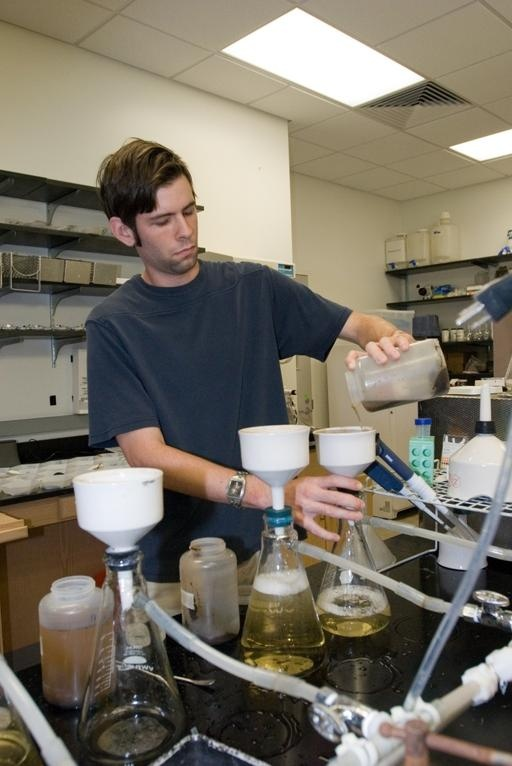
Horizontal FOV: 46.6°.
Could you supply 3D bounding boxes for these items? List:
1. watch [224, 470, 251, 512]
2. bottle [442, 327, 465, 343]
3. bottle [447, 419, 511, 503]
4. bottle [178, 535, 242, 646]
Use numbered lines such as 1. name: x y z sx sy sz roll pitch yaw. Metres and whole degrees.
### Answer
1. watch: -0.026 0.170 0.909 0.031 0.051 0.051 14 1 9
2. bottle: 1.958 -0.494 5.954 0.219 0.201 0.122 1 1 5
3. bottle: 0.399 0.153 1.084 0.095 0.121 0.097 -2 5 0
4. bottle: -0.071 0.310 0.902 0.090 0.156 0.096 -2 -30 -1
